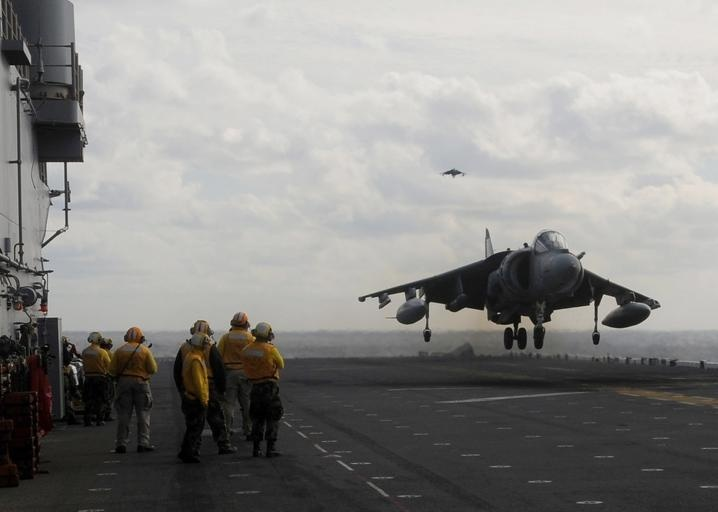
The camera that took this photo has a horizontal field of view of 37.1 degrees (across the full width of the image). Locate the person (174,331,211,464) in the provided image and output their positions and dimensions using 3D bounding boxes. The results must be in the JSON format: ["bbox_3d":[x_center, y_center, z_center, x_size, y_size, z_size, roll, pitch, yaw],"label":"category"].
[{"bbox_3d":[-3.414,2.924,22.165,0.661,2.610,0.884,0,-3,-9],"label":"person"}]
